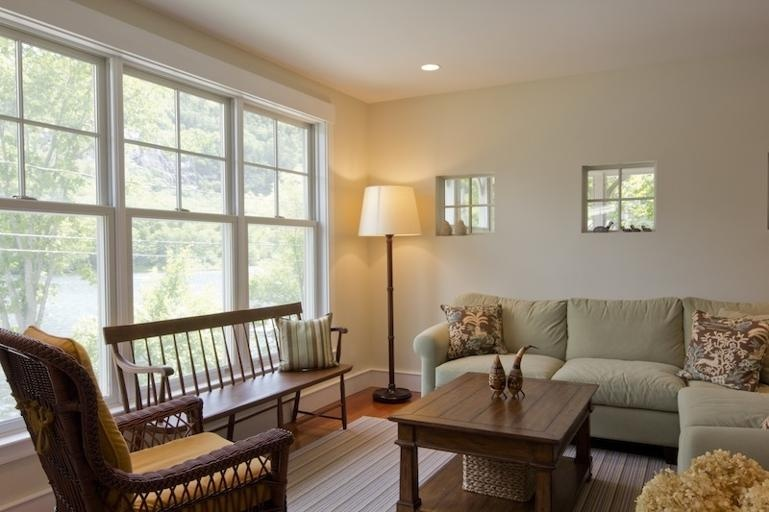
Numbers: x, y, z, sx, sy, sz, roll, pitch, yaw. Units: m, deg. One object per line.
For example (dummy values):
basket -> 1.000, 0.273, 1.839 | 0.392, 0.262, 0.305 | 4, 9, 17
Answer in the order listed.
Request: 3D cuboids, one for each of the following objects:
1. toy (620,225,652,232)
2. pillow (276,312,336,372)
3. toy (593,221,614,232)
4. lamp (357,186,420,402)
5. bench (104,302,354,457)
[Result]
toy -> 2.415, -0.264, 5.229 | 0.283, 0.075, 0.178 | -2, 1, 21
pillow -> -0.693, 0.753, 4.688 | 0.522, 0.457, 0.186 | -3, -22, -17
toy -> 2.144, -0.289, 5.357 | 0.200, 0.114, 0.197 | -1, 1, 28
lamp -> 0.080, 0.369, 5.708 | 0.616, 2.219, 0.550 | -2, 2, -2
bench -> -1.215, 0.921, 4.114 | 0.432, 0.731, 1.303 | -2, 0, 33
